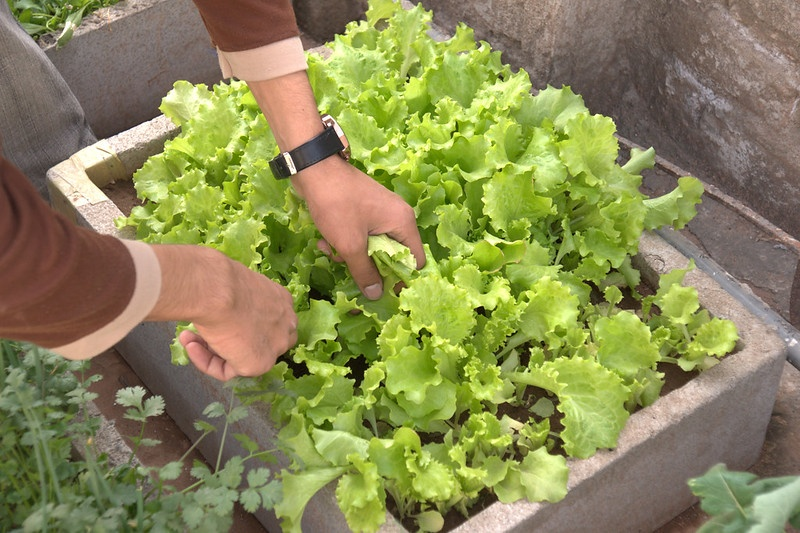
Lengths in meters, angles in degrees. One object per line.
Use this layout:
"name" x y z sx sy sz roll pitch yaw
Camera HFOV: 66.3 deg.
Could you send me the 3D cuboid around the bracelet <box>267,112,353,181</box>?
"bracelet" -0.287 -0.371 2.078 0.267 0.269 0.168 -27 90 -20
